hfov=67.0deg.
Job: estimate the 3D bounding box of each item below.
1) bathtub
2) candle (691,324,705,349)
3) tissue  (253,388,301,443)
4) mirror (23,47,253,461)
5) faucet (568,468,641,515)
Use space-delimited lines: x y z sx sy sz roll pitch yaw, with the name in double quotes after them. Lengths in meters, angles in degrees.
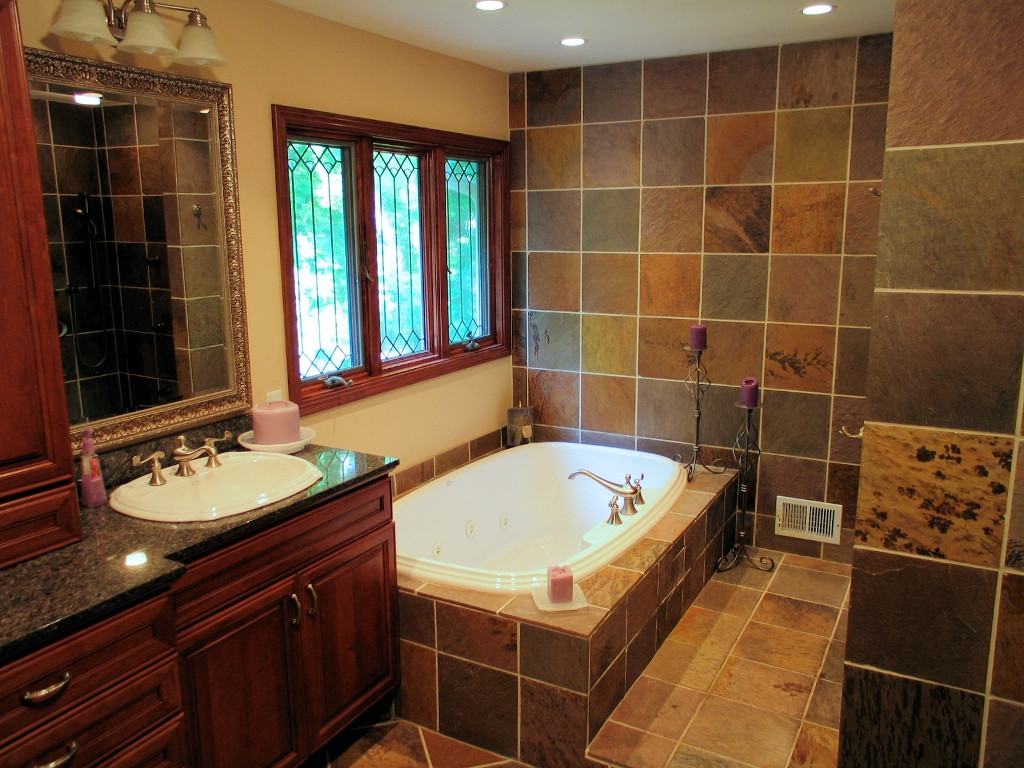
0.223 0.705 4.114 1.268 0.543 1.320 1 13 20 "bathtub"
1.012 -0.260 4.281 0.101 0.126 0.106 1 4 5 "candle"
-0.921 0.122 3.092 0.183 0.225 0.191 0 -1 -10 "tissue "
-1.348 -0.495 2.882 0.098 1.344 0.812 5 15 33 "mirror"
0.478 0.530 4.063 0.437 0.236 0.171 4 7 32 "faucet"
